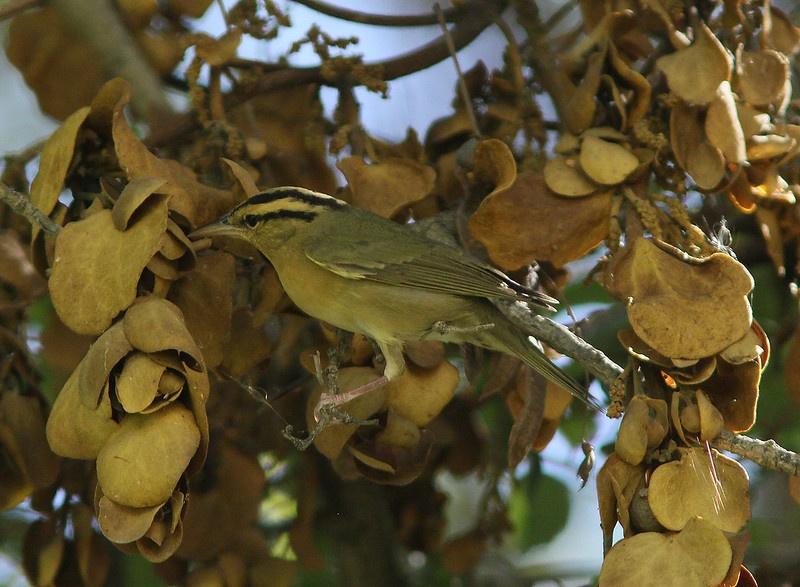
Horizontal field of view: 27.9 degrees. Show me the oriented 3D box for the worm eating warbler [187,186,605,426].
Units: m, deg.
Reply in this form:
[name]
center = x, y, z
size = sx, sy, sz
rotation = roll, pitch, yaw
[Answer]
[worm eating warbler]
center = -0.044, 0.013, 4.781
size = 1.195, 0.634, 0.402
rotation = 0, -2, -11
